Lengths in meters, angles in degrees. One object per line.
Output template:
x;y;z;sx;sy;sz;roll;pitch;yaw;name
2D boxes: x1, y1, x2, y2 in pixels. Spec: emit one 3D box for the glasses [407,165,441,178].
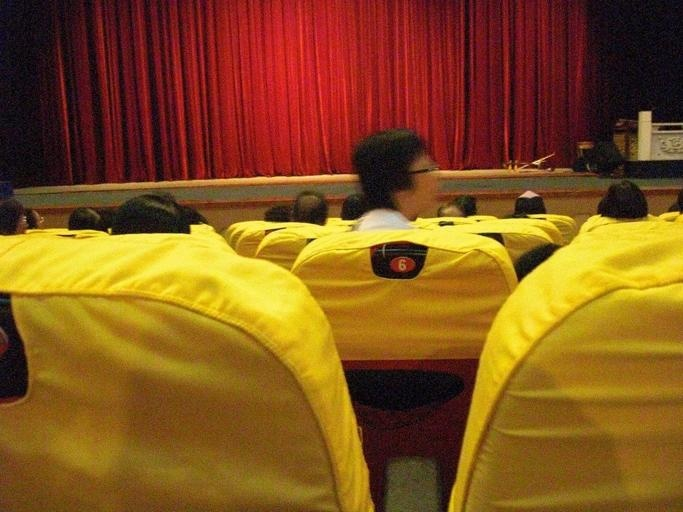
0.256;-0.263;1.901;0.113;0.033;0.034;-11;13;-33;glasses
